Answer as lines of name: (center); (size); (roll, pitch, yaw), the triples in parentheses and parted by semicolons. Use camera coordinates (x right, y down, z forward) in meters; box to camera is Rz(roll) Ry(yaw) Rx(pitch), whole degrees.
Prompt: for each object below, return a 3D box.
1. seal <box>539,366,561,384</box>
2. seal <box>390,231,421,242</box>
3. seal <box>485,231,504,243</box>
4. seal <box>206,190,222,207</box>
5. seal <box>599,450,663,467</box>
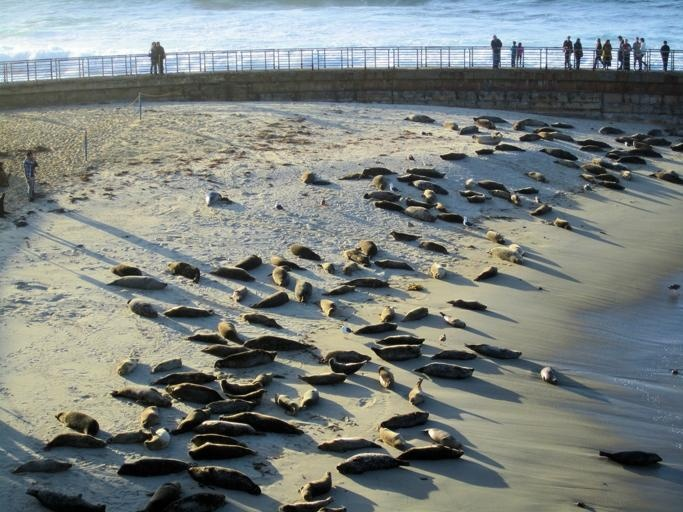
seal: (3.344, 1.913, 12.392); (0.283, 0.093, 0.305); (12, 12, 0)
seal: (1.360, -0.434, 16.536); (0.633, 0.194, 0.254); (1, 10, 3)
seal: (3.304, -0.408, 16.604); (0.470, 0.218, 0.236); (9, 14, 43)
seal: (-2.886, -1.309, 17.479); (0.348, 0.324, 0.479); (-1, 10, -8)
seal: (4.155, 2.894, 11.033); (1.182, 0.229, 0.226); (3, 52, 0)
